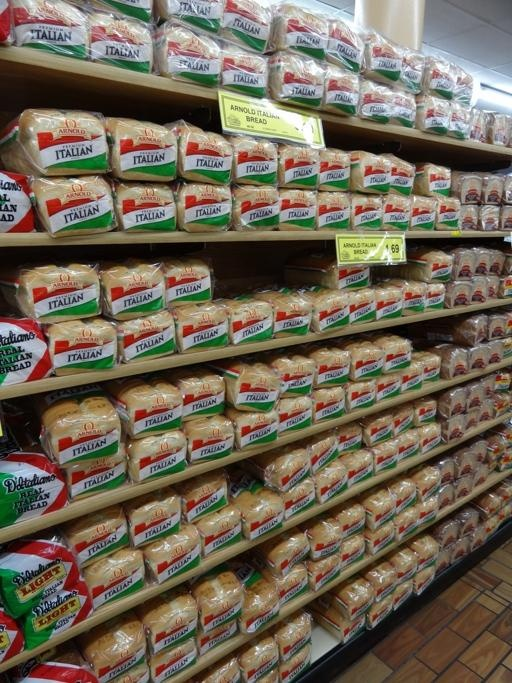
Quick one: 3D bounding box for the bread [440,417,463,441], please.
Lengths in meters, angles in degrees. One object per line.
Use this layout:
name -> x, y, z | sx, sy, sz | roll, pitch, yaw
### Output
bread -> 0.855, 0.386, 2.308 | 0.104, 0.086, 0.056 | -11, 22, -31

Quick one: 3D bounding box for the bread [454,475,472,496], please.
bread -> 0.972, 0.682, 2.477 | 0.097, 0.105, 0.036 | -4, 25, -38

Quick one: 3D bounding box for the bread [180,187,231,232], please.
bread -> -0.134, -0.332, 1.308 | 0.123, 0.103, 0.042 | -8, 12, -43

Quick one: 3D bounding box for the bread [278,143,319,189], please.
bread -> 0.118, -0.510, 1.516 | 0.122, 0.111, 0.044 | -6, 16, -34

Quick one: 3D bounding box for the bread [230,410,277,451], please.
bread -> -0.013, 0.258, 1.586 | 0.124, 0.081, 0.120 | -6, 33, -28

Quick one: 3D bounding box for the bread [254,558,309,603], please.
bread -> 0.090, 0.782, 1.781 | 0.143, 0.090, 0.140 | -12, 18, -43

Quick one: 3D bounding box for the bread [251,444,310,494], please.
bread -> 0.082, 0.390, 1.700 | 0.127, 0.075, 0.162 | -19, 12, -33

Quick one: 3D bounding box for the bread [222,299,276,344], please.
bread -> -0.014, -0.061, 1.488 | 0.130, 0.101, 0.128 | 7, 15, 19

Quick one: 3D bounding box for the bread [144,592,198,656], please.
bread -> -0.240, 0.760, 1.476 | 0.120, 0.111, 0.164 | -8, 10, -19

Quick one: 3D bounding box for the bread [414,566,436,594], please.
bread -> 0.729, 1.028, 2.298 | 0.121, 0.114, 0.036 | -27, 32, -32

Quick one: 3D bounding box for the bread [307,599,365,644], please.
bread -> 0.323, 1.048, 1.999 | 0.147, 0.052, 0.149 | -17, 29, -38

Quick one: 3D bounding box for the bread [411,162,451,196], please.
bread -> 0.655, -0.600, 2.001 | 0.122, 0.109, 0.167 | 18, 24, 41

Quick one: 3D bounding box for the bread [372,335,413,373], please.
bread -> 0.511, 0.034, 1.968 | 0.139, 0.112, 0.135 | -5, 16, -19

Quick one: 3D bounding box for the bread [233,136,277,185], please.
bread -> 0.001, -0.487, 1.422 | 0.043, 0.122, 0.175 | 12, 18, 43

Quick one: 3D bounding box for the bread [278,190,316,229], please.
bread -> 0.113, -0.379, 1.541 | 0.127, 0.113, 0.048 | -5, 8, -35

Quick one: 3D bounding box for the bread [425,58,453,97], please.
bread -> 0.627, -0.914, 1.812 | 0.112, 0.108, 0.104 | -9, 49, 27

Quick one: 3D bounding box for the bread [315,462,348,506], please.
bread -> 0.253, 0.493, 1.813 | 0.090, 0.105, 0.159 | 10, 24, 41

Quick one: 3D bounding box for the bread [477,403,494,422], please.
bread -> 1.102, 0.346, 2.543 | 0.087, 0.110, 0.030 | -13, 19, -35

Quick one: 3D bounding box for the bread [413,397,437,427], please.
bread -> 0.703, 0.298, 2.196 | 0.135, 0.112, 0.072 | -10, 17, -40

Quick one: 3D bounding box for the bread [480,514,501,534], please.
bread -> 1.206, 0.943, 2.694 | 0.049, 0.079, 0.162 | 34, 4, 34

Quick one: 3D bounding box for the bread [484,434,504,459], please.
bread -> 1.213, 0.538, 2.677 | 0.114, 0.072, 0.061 | -8, 21, -43

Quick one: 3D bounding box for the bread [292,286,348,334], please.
bread -> 0.210, -0.106, 1.741 | 0.137, 0.122, 0.181 | -13, 18, -27

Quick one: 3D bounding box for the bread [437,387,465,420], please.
bread -> 0.846, 0.270, 2.282 | 0.140, 0.119, 0.079 | -9, 25, -27

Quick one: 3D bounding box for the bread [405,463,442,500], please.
bread -> 0.720, 0.603, 2.278 | 0.160, 0.099, 0.114 | -17, 20, -21

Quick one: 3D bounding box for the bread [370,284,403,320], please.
bread -> 0.458, -0.138, 1.860 | 0.061, 0.093, 0.112 | 14, 22, 42

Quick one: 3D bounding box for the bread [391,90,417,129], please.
bread -> 0.477, -0.759, 1.724 | 0.110, 0.101, 0.046 | -6, 9, -42

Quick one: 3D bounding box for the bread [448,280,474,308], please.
bread -> 0.831, -0.190, 2.171 | 0.109, 0.116, 0.118 | -3, -27, 19

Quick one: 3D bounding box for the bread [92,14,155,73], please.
bread -> -0.298, -0.626, 1.130 | 0.141, 0.093, 0.103 | -11, 30, -41

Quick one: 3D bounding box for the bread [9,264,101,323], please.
bread -> -0.435, -0.142, 1.128 | 0.143, 0.096, 0.189 | -7, 15, -31

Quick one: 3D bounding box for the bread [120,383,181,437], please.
bread -> -0.263, 0.173, 1.308 | 0.137, 0.089, 0.135 | -16, 31, -36

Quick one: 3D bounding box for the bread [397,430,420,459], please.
bread -> 0.610, 0.417, 2.118 | 0.113, 0.092, 0.064 | -19, 26, -38

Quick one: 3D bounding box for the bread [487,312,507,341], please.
bread -> 1.099, -0.068, 2.395 | 0.130, 0.133, 0.049 | 2, 4, -45

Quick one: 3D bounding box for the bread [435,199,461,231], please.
bread -> 0.724, -0.484, 1.995 | 0.048, 0.108, 0.138 | 17, 11, 40

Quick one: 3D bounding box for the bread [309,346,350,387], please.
bread -> 0.229, 0.085, 1.796 | 0.136, 0.113, 0.133 | -10, 19, -26

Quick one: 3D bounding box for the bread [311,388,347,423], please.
bread -> 0.235, 0.214, 1.747 | 0.122, 0.095, 0.068 | -8, 15, -43
